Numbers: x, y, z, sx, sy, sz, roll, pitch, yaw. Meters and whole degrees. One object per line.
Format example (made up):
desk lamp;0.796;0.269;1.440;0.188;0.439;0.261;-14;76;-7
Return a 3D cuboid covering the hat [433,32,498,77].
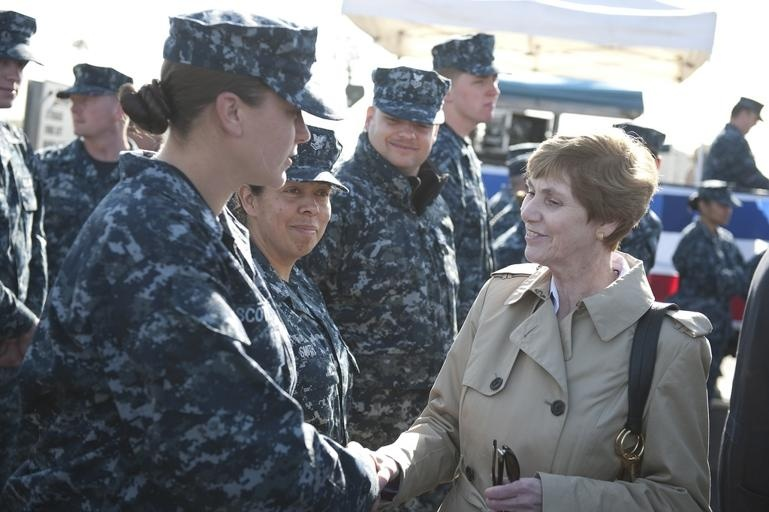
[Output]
hat;0.619;-1.550;10.400;0.456;0.206;0.313;7;12;34

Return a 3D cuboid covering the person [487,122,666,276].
person;1.719;-0.451;10.887;0.969;1.510;1.515;3;-1;-17

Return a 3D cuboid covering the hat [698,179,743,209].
hat;3.236;-0.614;12.971;0.396;0.194;0.293;9;5;9
